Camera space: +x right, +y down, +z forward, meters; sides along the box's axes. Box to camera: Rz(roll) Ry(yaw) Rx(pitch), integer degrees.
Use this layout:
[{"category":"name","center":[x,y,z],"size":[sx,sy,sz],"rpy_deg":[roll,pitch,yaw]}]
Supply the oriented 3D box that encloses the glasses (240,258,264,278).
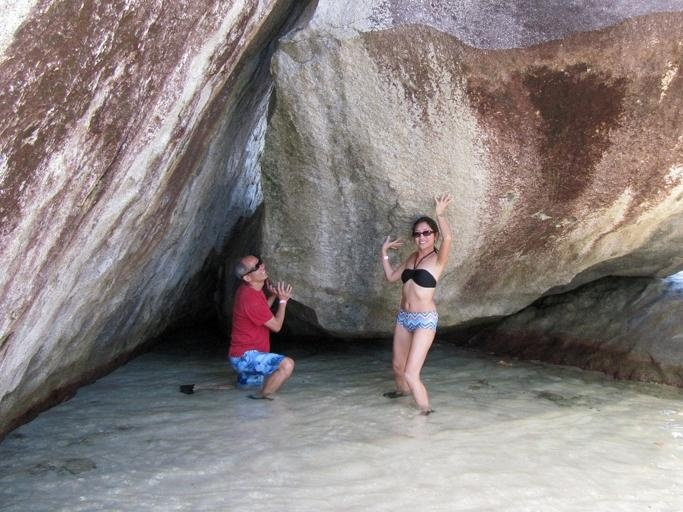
[{"category":"glasses","center":[-0.869,0.142,5.259],"size":[0.198,0.054,0.186],"rpy_deg":[-25,-1,-12]}]

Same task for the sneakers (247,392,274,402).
[{"category":"sneakers","center":[-0.752,1.303,5.083],"size":[0.257,0.088,0.074],"rpy_deg":[-11,-22,17]}]

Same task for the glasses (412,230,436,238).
[{"category":"glasses","center":[0.732,-0.187,4.795],"size":[0.190,0.063,0.115],"rpy_deg":[-1,4,-1]}]

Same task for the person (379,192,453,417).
[{"category":"person","center":[0.672,0.381,4.792],"size":[0.636,1.819,0.714],"rpy_deg":[-2,4,4]}]

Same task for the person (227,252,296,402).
[{"category":"person","center":[-0.795,0.661,5.414],"size":[0.622,1.327,0.970],"rpy_deg":[-2,4,-5]}]

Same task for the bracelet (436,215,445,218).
[{"category":"bracelet","center":[0.863,-0.338,4.792],"size":[0.049,0.019,0.054],"rpy_deg":[0,3,-23]}]

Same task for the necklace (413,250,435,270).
[{"category":"necklace","center":[0.737,0.033,4.858],"size":[0.181,0.045,0.177],"rpy_deg":[23,-6,33]}]
